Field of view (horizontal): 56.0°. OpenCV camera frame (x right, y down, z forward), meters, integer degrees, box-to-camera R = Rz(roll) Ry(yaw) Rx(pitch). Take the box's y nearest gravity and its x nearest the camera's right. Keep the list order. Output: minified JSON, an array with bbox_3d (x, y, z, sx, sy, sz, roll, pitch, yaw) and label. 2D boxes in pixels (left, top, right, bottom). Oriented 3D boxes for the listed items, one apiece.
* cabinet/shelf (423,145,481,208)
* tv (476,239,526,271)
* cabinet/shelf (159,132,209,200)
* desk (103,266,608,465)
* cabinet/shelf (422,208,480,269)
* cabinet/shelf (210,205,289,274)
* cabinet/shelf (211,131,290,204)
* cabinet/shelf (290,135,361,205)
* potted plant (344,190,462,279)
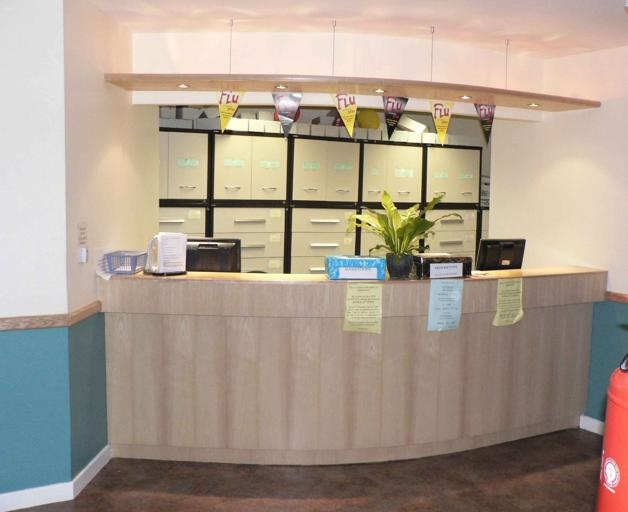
[{"bbox_3d":[1.735,-0.988,7.329,0.673,0.679,0.254,3,1,14],"label":"cabinet/shelf"},{"bbox_3d":[1.403,-0.022,4.451,0.446,0.237,0.105,-4,9,-30],"label":"tv"},{"bbox_3d":[-1.485,-0.920,6.199,0.742,0.764,0.503,-2,11,-10],"label":"cabinet/shelf"},{"bbox_3d":[0.215,0.699,4.263,3.527,1.392,1.113,0,10,3],"label":"desk"},{"bbox_3d":[1.399,-0.207,6.082,0.631,0.642,0.242,-3,6,-27],"label":"cabinet/shelf"},{"bbox_3d":[-0.651,-0.197,5.805,0.658,0.674,0.238,2,2,-13],"label":"cabinet/shelf"},{"bbox_3d":[-0.701,-0.950,6.187,0.719,0.636,0.281,0,3,-13],"label":"cabinet/shelf"},{"bbox_3d":[0.144,-0.937,6.651,0.786,0.721,0.289,2,-6,0],"label":"cabinet/shelf"},{"bbox_3d":[0.553,-0.147,3.931,0.509,0.563,0.339,1,8,0],"label":"potted plant"}]
